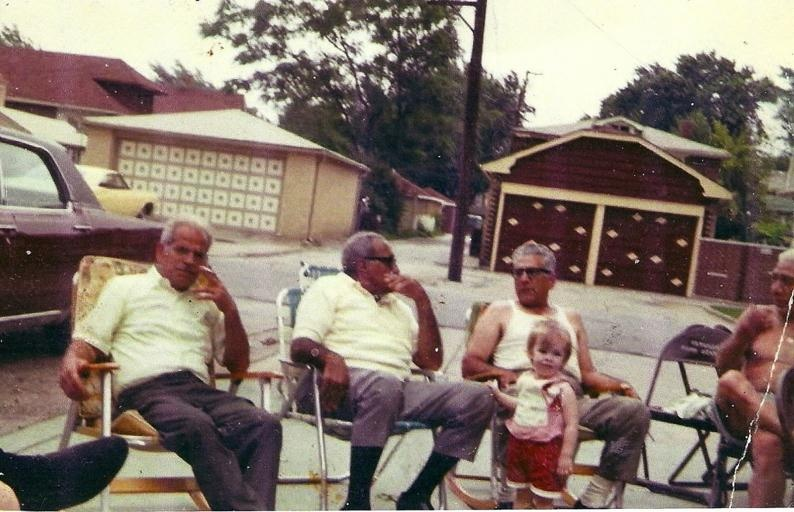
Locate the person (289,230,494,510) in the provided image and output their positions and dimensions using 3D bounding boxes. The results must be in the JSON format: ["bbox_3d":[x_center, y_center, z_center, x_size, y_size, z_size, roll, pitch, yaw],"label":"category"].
[{"bbox_3d":[-0.071,0.710,3.918,1.063,1.908,1.188,12,-25,-33],"label":"person"}]

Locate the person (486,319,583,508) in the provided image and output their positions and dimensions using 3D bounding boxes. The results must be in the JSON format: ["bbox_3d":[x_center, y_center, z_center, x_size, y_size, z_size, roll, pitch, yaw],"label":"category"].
[{"bbox_3d":[0.795,0.946,3.880,0.491,0.740,0.290,6,4,12],"label":"person"}]

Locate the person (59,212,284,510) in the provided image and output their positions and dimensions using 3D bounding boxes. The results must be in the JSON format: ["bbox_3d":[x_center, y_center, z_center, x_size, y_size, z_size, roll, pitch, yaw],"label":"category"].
[{"bbox_3d":[-1.175,0.558,3.694,1.204,1.486,0.476,6,4,7],"label":"person"}]

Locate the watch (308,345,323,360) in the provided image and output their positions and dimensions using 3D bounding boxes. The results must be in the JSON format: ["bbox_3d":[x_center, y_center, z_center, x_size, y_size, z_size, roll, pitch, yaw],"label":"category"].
[{"bbox_3d":[-0.456,0.550,3.765,0.050,0.058,0.024,5,4,-8],"label":"watch"}]
